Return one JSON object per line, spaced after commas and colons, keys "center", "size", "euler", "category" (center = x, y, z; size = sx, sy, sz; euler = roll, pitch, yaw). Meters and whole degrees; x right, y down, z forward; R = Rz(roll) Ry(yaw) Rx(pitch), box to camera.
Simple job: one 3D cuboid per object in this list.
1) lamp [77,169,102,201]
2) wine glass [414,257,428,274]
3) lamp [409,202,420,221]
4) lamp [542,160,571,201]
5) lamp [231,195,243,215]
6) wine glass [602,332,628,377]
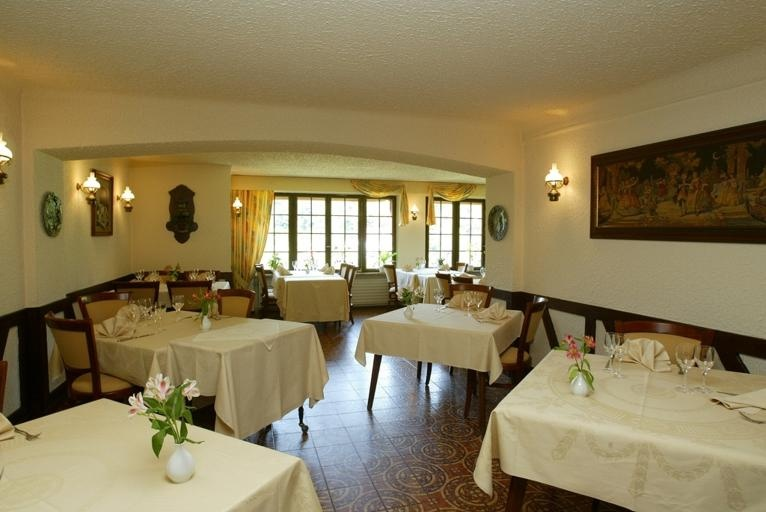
{"center": [-3.813, -0.917, 6.732], "size": [0.234, 0.395, 0.781], "euler": [-3, 12, -18], "category": "lamp"}
{"center": [0.793, 0.166, 10.738], "size": [0.307, 0.360, 0.309], "euler": [0, 12, 0], "category": "wine glass"}
{"center": [0.714, -0.955, 11.205], "size": [0.198, 0.373, 0.135], "euler": [-1, 12, -9], "category": "lamp"}
{"center": [2.102, -0.889, 6.177], "size": [0.269, 0.467, 0.500], "euler": [4, 12, 16], "category": "lamp"}
{"center": [-2.877, -1.011, 10.273], "size": [0.220, 0.383, 0.469], "euler": [-2, 11, -13], "category": "lamp"}
{"center": [1.803, 0.722, 3.997], "size": [0.138, 0.319, 0.297], "euler": [7, 13, 27], "category": "wine glass"}
